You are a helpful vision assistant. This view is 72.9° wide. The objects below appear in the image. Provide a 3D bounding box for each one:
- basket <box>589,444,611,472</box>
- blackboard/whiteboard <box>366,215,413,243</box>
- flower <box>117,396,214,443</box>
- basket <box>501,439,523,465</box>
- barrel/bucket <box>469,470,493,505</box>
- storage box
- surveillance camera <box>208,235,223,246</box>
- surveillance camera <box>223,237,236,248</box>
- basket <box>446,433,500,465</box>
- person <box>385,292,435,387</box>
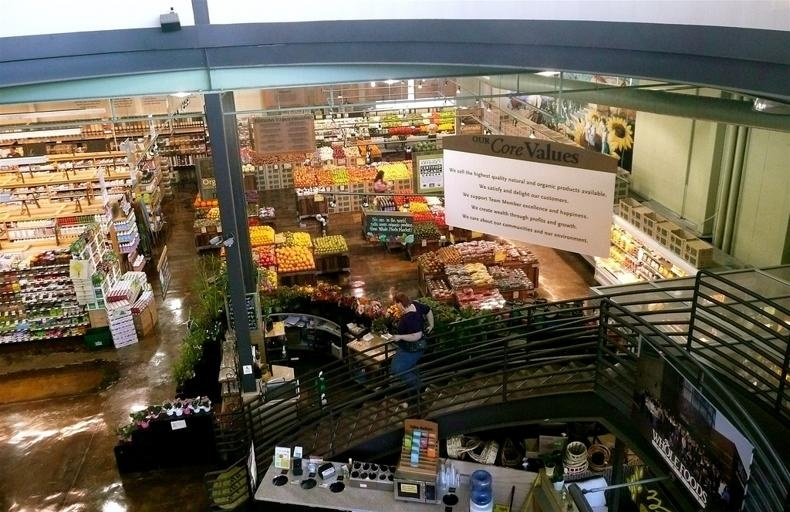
[{"bbox_3d":[3.385,3.365,8.870,0.342,0.328,0.359,15,34,28],"label":"basket"},{"bbox_3d":[-0.146,-0.498,11.959,0.935,0.525,0.894,1,8,1],"label":"blackboard/whiteboard"},{"bbox_3d":[-4.058,2.970,9.560,1.308,0.336,0.435,-17,-26,0],"label":"flower"},{"bbox_3d":[1.998,3.297,9.103,0.367,0.287,0.606,0,14,12],"label":"basket"},{"bbox_3d":[1.224,3.272,7.549,0.346,0.355,0.347,1,30,-1],"label":"barrel/bucket"},{"bbox_3d":[5.936,-0.549,11.768,0.497,1.181,2.248,-7,14,-14],"label":"storage box"},{"bbox_3d":[-3.526,-0.302,10.515,0.260,0.142,0.334,-30,25,-15],"label":"surveillance camera"},{"bbox_3d":[-2.706,-0.223,8.749,0.170,0.069,0.165,-23,22,-19],"label":"surveillance camera"},{"bbox_3d":[1.302,3.295,9.083,0.856,0.339,0.584,7,31,15],"label":"basket"},{"bbox_3d":[0.244,1.439,8.610,0.712,1.596,1.377,-3,13,5],"label":"person"}]
